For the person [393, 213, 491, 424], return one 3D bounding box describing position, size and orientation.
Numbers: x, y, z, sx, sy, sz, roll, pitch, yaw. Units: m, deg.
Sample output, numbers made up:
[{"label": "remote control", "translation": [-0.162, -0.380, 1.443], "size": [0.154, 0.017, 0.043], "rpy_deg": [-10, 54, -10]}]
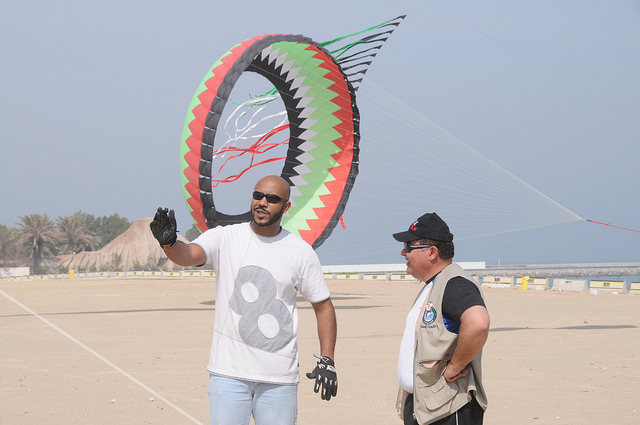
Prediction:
[{"label": "person", "translation": [1.423, 1.272, 7.029], "size": [1.162, 2.516, 0.549], "rpy_deg": [1, -4, 21]}]
